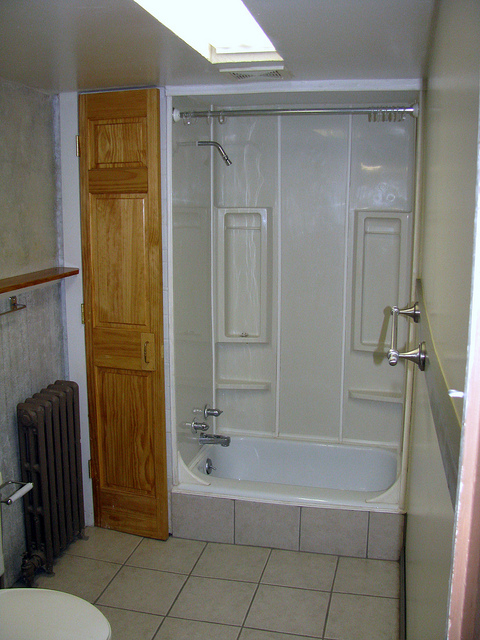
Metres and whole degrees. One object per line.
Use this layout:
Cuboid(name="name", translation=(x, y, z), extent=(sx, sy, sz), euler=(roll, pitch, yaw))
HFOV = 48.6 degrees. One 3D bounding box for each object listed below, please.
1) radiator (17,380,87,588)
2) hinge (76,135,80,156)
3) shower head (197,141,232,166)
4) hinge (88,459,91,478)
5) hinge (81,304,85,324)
Cuboid(name="radiator", translation=(-0.938, 0.797, 2.643), extent=(0.188, 0.875, 0.501), euler=(0, 9, 4))
Cuboid(name="hinge", translation=(-0.844, -0.909, 2.764), extent=(0.027, 0.105, 0.009), euler=(8, 12, 41))
Cuboid(name="shower head", translation=(-0.154, -1.001, 3.178), extent=(0.187, 0.138, 0.288), euler=(-1, 11, -2))
Cuboid(name="hinge", translation=(-0.850, 0.838, 2.999), extent=(0.019, 0.098, 0.006), euler=(5, 10, 32))
Cuboid(name="hinge", translation=(-0.853, -0.033, 2.888), extent=(0.006, 0.104, 0.031), euler=(-8, 12, -41))
